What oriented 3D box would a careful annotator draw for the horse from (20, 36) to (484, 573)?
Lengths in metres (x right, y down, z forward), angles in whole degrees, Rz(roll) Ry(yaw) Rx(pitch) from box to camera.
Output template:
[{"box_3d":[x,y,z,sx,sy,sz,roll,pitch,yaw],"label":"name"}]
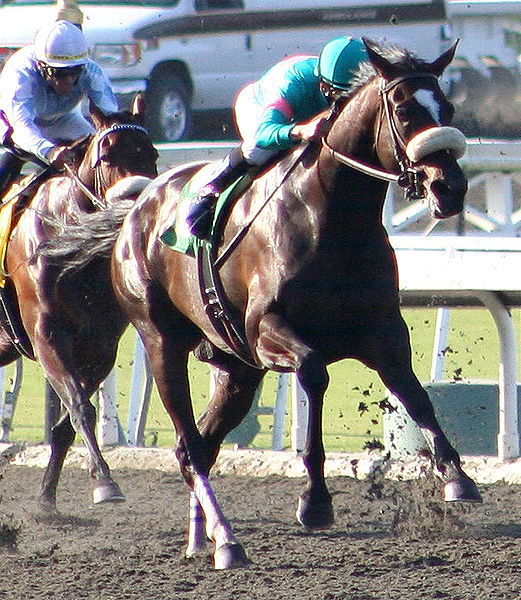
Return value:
[{"box_3d":[0.091,0.053,5.690,0.527,1.906,1.598,-5,4,-43],"label":"horse"}]
